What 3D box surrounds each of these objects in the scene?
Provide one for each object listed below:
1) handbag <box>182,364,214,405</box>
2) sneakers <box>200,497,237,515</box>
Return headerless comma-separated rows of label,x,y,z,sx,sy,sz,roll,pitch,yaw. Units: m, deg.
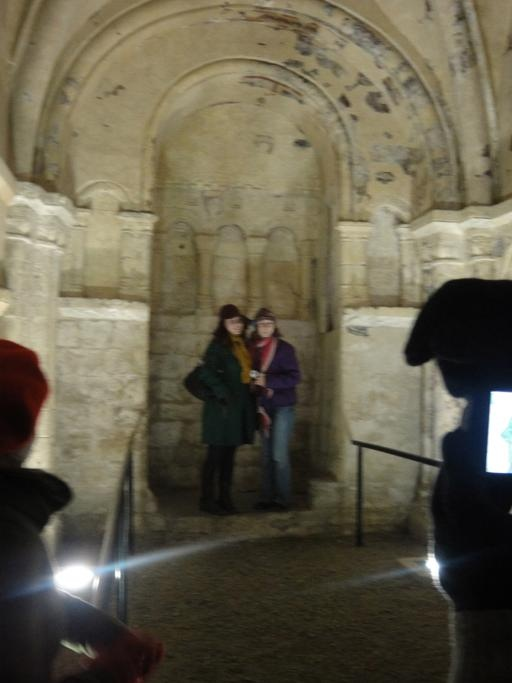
handbag,-0.301,0.220,4.461,0.173,0.198,0.057,1,9,8
sneakers,-0.196,0.888,4.467,0.234,0.080,0.073,-6,-8,28
